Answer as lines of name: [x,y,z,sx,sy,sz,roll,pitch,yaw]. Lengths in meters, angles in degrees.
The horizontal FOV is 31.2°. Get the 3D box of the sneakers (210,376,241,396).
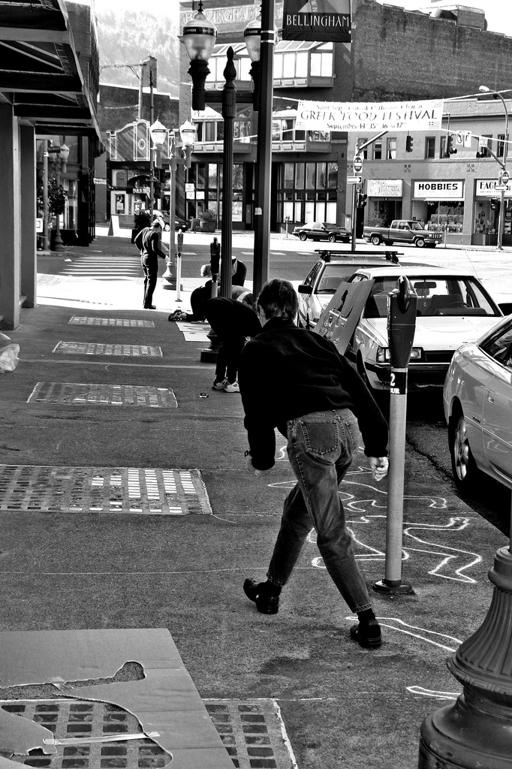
sneakers: [-0.361,0.030,10.994,0.350,0.202,0.155,2,3,5]

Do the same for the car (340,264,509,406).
car: [1.995,-0.655,11.035,1.263,1.136,2.338,-2,4,-13]

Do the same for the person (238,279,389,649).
person: [0.265,0.355,4.104,0.668,1.581,0.573,3,10,9]

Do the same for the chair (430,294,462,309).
chair: [2.387,-1.018,11.317,0.221,0.229,0.242,3,18,0]

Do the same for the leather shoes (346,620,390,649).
leather shoes: [0.484,1.060,3.964,0.146,0.132,0.172,3,12,7]

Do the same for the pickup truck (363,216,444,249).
pickup truck: [10.209,-10.248,62.619,4.463,1.596,3.075,2,12,3]

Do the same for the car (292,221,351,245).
car: [5.077,-11.363,68.683,4.026,1.298,3.507,4,13,9]
